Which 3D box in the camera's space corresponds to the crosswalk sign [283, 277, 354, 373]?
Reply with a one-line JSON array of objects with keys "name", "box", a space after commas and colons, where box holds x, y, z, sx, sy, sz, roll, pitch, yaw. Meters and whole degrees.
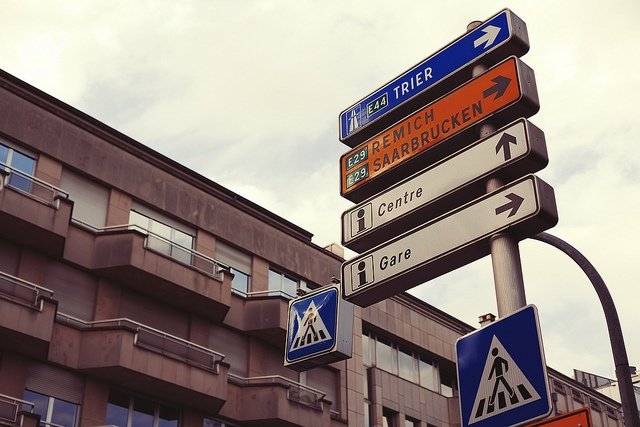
[{"name": "crosswalk sign", "box": [-0.009, 2.561, 15.748, 1.585, 1.737, 0.817, -23, -41, 28]}]
